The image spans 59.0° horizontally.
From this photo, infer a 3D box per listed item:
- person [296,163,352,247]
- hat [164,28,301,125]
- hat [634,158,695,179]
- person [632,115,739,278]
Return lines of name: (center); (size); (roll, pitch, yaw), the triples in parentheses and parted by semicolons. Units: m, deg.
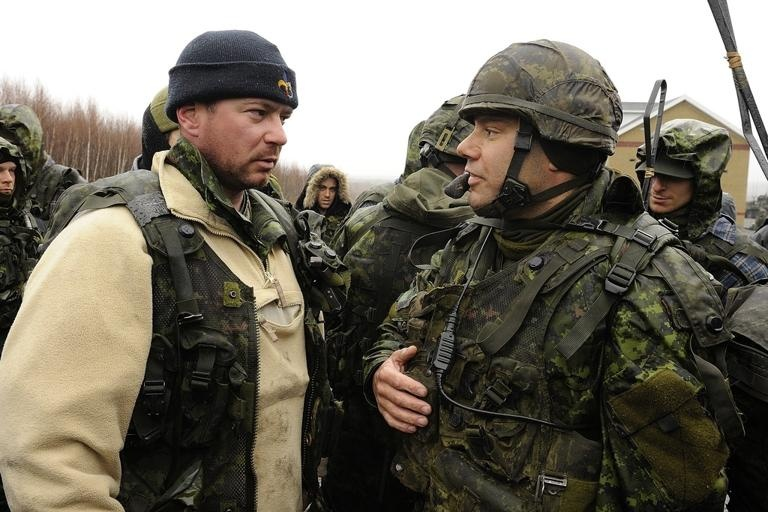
person: (-0.860, -0.768, 10.037); (0.739, 1.008, 0.851); (-11, -18, 42)
hat: (-0.867, -1.020, 3.802); (0.670, 0.405, 0.685); (2, 8, 37)
hat: (2.123, -0.659, 5.087); (0.402, 0.121, 0.280); (14, 6, -25)
person: (2.432, -0.640, 5.606); (0.708, 0.975, 0.603); (-6, 21, -11)
